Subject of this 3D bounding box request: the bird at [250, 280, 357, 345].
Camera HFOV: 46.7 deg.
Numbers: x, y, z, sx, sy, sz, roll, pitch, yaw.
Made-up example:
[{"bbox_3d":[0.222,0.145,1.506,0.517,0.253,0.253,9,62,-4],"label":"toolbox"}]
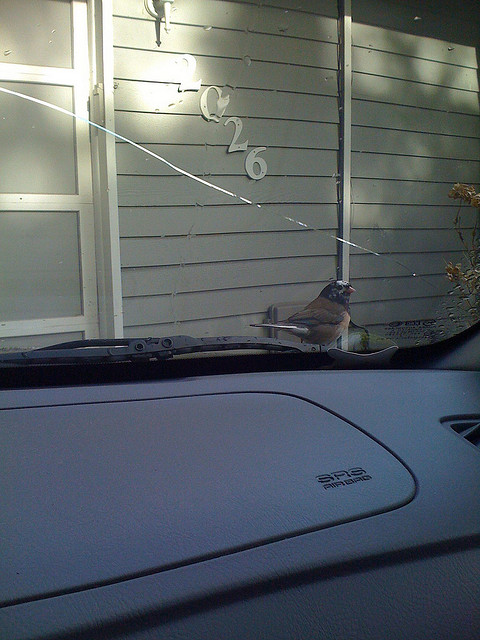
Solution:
[{"bbox_3d":[0.131,-0.013,1.121,0.202,0.083,0.133,-2,-89,-11],"label":"bird"}]
